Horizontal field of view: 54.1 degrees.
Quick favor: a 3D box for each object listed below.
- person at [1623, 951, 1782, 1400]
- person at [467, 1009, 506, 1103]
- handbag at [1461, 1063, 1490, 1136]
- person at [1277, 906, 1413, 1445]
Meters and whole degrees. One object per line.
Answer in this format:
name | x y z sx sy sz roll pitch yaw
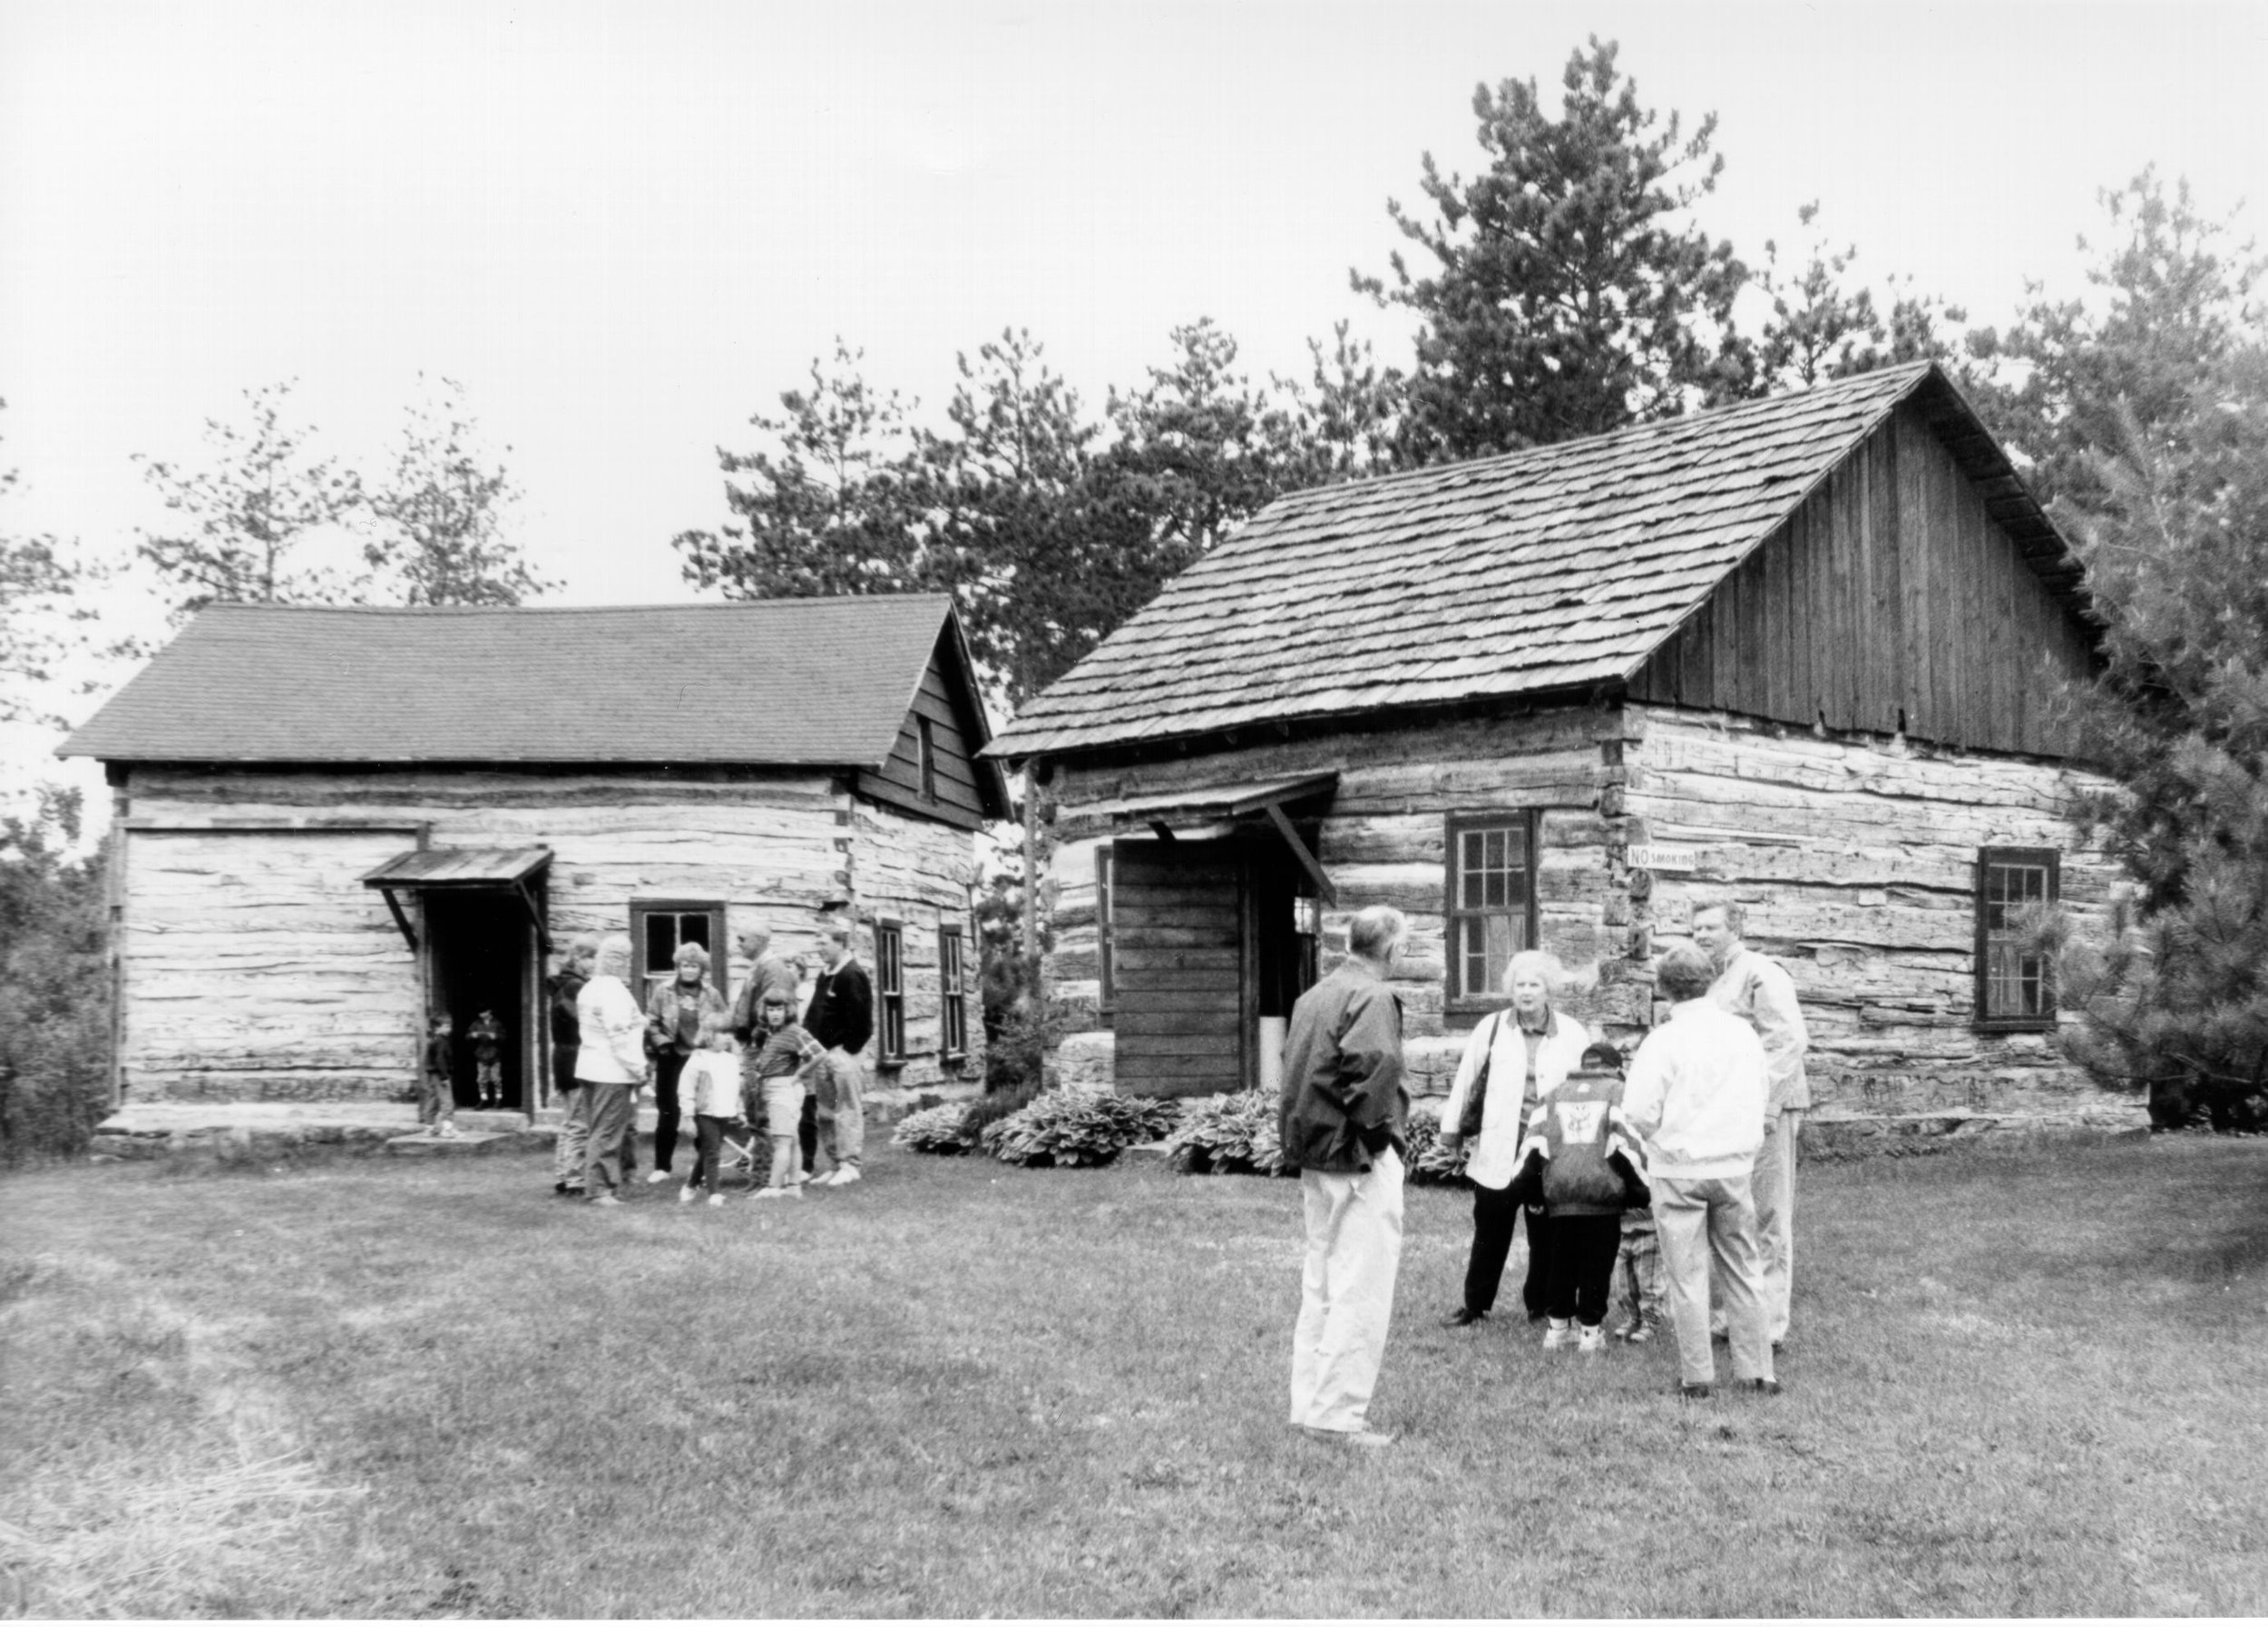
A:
person | 3.054 1.893 11.949 0.825 2.389 0.396 1 3 14
person | -7.621 2.865 26.313 0.376 1.175 1.371 -1 3 -17
handbag | 1.975 1.648 12.839 0.110 0.346 0.239 11 -4 4
person | 1.059 1.844 11.340 0.592 2.645 0.413 0 3 2
